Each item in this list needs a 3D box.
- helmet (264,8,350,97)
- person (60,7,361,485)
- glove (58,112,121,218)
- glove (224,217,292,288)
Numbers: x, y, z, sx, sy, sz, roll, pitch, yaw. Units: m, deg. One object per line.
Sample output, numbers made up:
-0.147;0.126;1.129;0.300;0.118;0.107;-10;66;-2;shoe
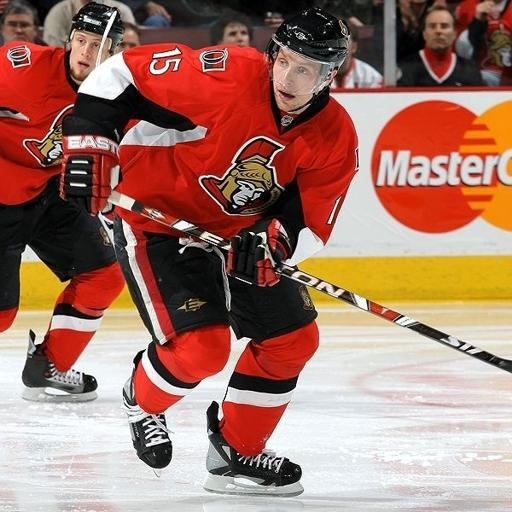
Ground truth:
0.140;-0.520;1.701;0.168;0.234;0.205;8;15;26;helmet
-0.134;0.012;1.833;0.686;1.339;0.375;7;16;20;person
-0.422;-0.218;1.691;0.238;0.217;0.114;3;12;-12;glove
0.000;-0.005;1.762;0.167;0.172;0.092;29;-21;-8;glove
